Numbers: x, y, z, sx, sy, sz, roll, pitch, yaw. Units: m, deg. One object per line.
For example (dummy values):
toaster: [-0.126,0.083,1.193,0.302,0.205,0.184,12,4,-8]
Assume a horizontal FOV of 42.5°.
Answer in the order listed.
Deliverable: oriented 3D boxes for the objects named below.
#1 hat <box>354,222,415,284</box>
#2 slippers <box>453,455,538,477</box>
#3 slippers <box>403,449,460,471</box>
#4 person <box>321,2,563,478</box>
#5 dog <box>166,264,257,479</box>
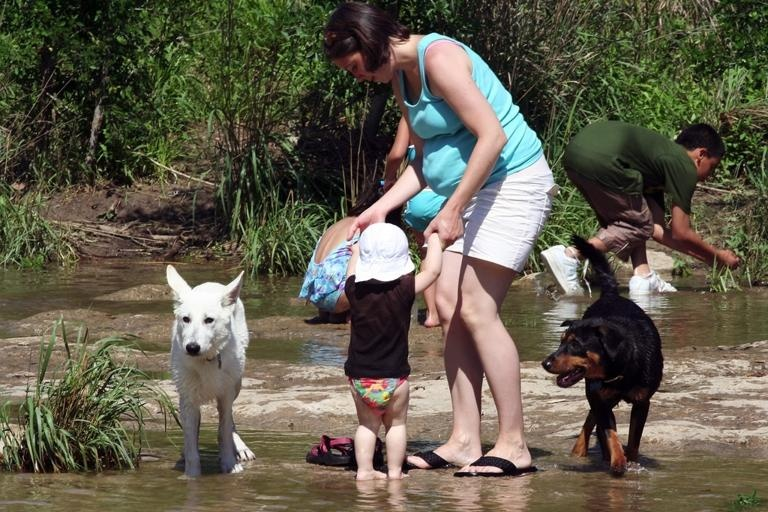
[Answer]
hat: [-0.001,-0.017,7.061,0.326,0.234,0.442,2,24,6]
slippers: [0.791,1.469,6.989,0.482,0.118,0.190,4,-10,-20]
slippers: [0.345,1.473,7.166,0.350,0.100,0.149,4,-2,-3]
person: [0.495,-0.112,7.028,1.393,3.336,0.723,2,12,12]
dog: [-1.281,0.825,7.308,0.576,1.401,0.895,-3,12,-13]
